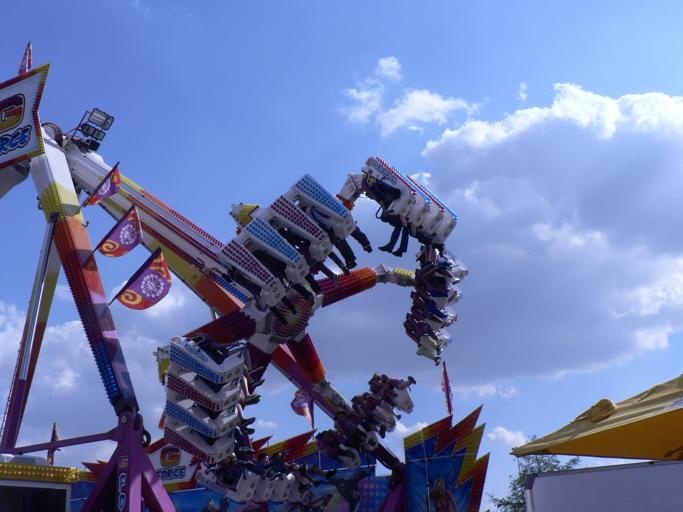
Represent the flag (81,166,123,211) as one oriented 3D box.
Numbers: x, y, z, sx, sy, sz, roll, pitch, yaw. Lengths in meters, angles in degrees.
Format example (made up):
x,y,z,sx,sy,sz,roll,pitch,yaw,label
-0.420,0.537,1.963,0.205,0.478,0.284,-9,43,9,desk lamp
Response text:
x,y,z,sx,sy,sz,roll,pitch,yaw,label
-7.144,-2.164,21.433,0.833,1.126,0.928,9,-35,-22,flag
